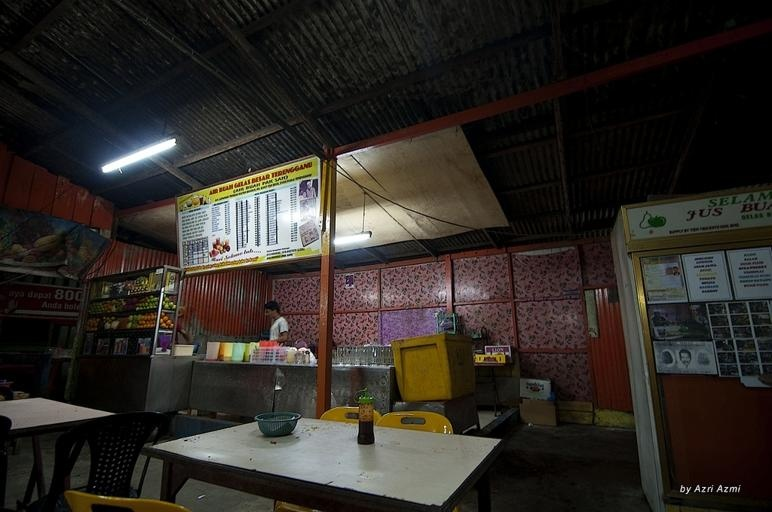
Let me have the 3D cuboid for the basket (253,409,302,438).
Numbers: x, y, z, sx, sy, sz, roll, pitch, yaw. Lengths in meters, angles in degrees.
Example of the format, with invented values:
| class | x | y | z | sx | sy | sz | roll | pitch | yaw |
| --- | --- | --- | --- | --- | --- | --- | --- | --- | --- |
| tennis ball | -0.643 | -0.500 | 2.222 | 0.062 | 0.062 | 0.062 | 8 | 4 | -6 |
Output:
| class | x | y | z | sx | sy | sz | roll | pitch | yaw |
| --- | --- | --- | --- | --- | --- | --- | --- | --- | --- |
| basket | -1.214 | 1.807 | 4.938 | 0.309 | 0.118 | 0.312 | -6 | -11 | 31 |

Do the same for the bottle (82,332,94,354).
| class | x | y | z | sx | sy | sz | roll | pitch | yaw |
| --- | --- | --- | --- | --- | --- | --- | --- | --- | --- |
| bottle | -6.183 | 1.816 | 9.456 | 0.330 | 0.558 | 0.058 | -13 | -14 | 20 |

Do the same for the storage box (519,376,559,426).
| class | x | y | z | sx | sy | sz | roll | pitch | yaw |
| --- | --- | --- | --- | --- | --- | --- | --- | --- | --- |
| storage box | 3.474 | 3.462 | 10.911 | 1.123 | 1.106 | 0.828 | -2 | -7 | 29 |

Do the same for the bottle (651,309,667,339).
| class | x | y | z | sx | sy | sz | roll | pitch | yaw |
| --- | --- | --- | --- | --- | --- | --- | --- | --- | --- |
| bottle | 3.303 | 0.831 | 5.539 | 0.172 | 0.311 | 0.074 | -4 | -8 | 28 |

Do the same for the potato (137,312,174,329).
| class | x | y | z | sx | sy | sz | roll | pitch | yaw |
| --- | --- | --- | --- | --- | --- | --- | --- | --- | --- |
| potato | -4.517 | 1.234 | 8.789 | 0.724 | 0.317 | 0.375 | 0 | -6 | 11 |

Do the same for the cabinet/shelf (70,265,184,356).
| class | x | y | z | sx | sy | sz | roll | pitch | yaw |
| --- | --- | --- | --- | --- | --- | --- | --- | --- | --- |
| cabinet/shelf | -5.284 | 1.220 | 9.409 | 2.610 | 1.766 | 0.445 | -7 | -13 | 30 |

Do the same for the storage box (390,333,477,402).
| class | x | y | z | sx | sy | sz | roll | pitch | yaw |
| --- | --- | --- | --- | --- | --- | --- | --- | --- | --- |
| storage box | 0.786 | 1.791 | 7.358 | 1.130 | 0.986 | 1.124 | -8 | -18 | 19 |

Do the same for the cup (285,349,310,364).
| class | x | y | z | sx | sy | sz | roll | pitch | yaw |
| --- | --- | --- | --- | --- | --- | --- | --- | --- | --- |
| cup | -1.550 | 1.762 | 8.049 | 0.286 | 0.207 | 0.277 | 1 | -17 | 0 |
